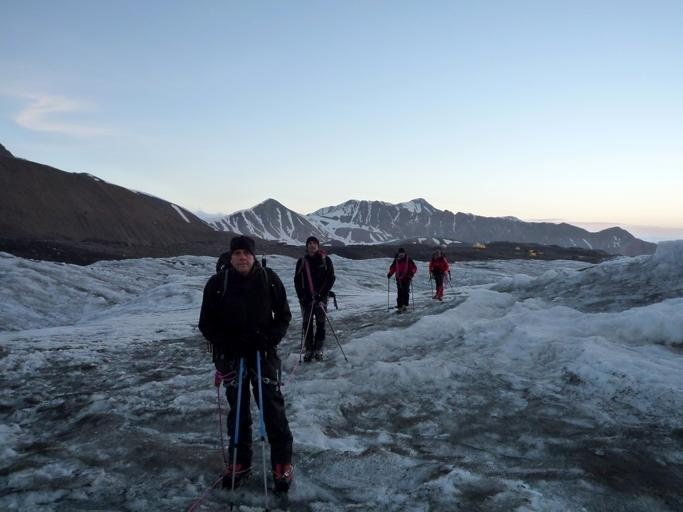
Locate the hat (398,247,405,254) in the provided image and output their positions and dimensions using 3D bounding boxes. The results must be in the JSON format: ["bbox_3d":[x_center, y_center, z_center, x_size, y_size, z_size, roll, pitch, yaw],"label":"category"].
[{"bbox_3d":[2.293,-0.206,15.997,0.218,0.214,0.287,1,-10,-16],"label":"hat"}]

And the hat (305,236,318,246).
[{"bbox_3d":[-0.701,-0.351,10.317,0.270,0.221,0.421,-7,7,-4],"label":"hat"}]

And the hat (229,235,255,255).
[{"bbox_3d":[-1.302,-0.129,5.632,0.304,0.277,0.409,-9,7,-16],"label":"hat"}]

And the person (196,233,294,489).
[{"bbox_3d":[-1.172,1.493,5.616,1.149,2.955,0.712,-8,8,-9],"label":"person"}]

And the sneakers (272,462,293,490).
[{"bbox_3d":[-0.759,2.813,5.534,0.273,0.325,0.257,-9,7,-16],"label":"sneakers"}]
